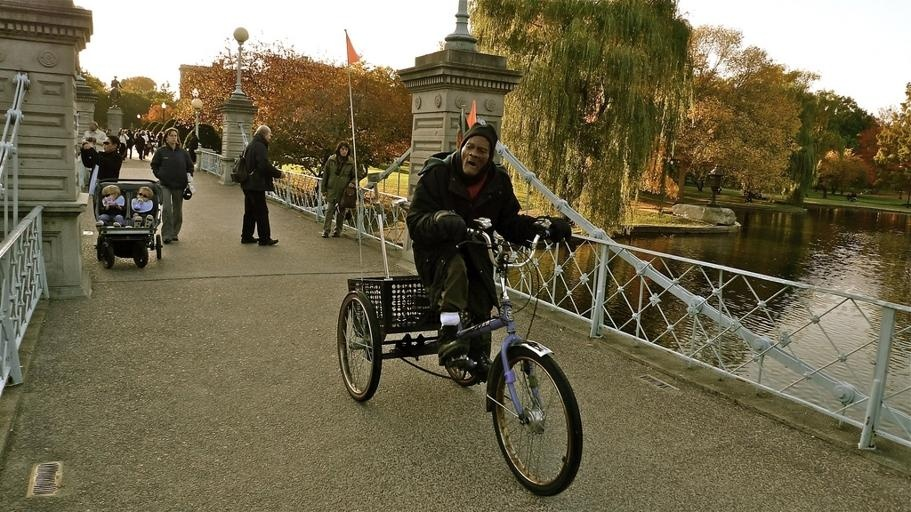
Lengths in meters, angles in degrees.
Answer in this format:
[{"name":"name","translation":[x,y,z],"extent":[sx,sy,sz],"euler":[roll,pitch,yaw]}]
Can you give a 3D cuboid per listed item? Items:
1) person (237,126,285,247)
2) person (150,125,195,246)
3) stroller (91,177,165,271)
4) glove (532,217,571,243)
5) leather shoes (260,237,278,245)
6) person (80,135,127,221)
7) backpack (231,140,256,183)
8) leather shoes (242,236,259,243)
[{"name":"person","translation":[-4.214,-1.523,13.783],"extent":[0.845,2.477,0.978],"euler":[1,9,-21]},{"name":"person","translation":[-5.825,-1.467,13.465],"extent":[0.886,2.462,1.006],"euler":[2,-2,-27]},{"name":"stroller","translation":[-5.977,-0.615,11.911],"extent":[1.098,1.506,1.349],"euler":[-1,10,-30]},{"name":"glove","translation":[1.070,-0.306,7.208],"extent":[0.253,0.144,0.352],"euler":[6,14,-23]},{"name":"leather shoes","translation":[-3.933,-0.306,13.724],"extent":[0.368,0.161,0.128],"euler":[-5,19,-18]},{"name":"person","translation":[-7.992,-1.553,14.622],"extent":[0.884,2.340,0.813],"euler":[6,-1,8]},{"name":"backpack","translation":[-4.513,-1.951,13.779],"extent":[0.405,0.815,0.593],"euler":[5,5,-7]},{"name":"leather shoes","translation":[-4.351,-0.349,13.805],"extent":[0.344,0.167,0.121],"euler":[0,16,-21]}]
